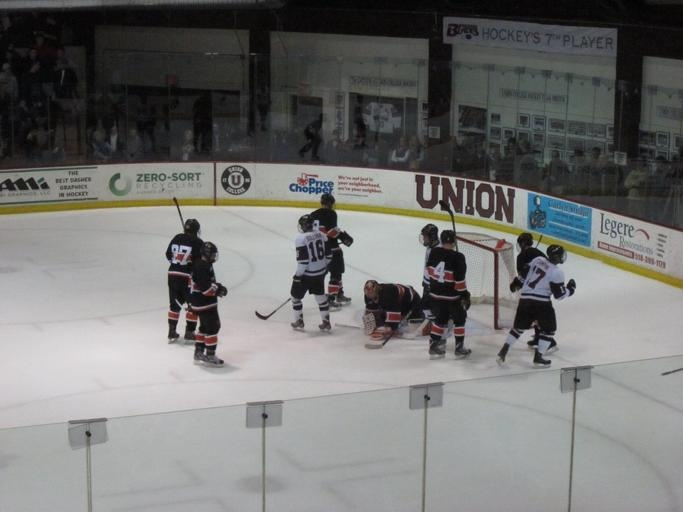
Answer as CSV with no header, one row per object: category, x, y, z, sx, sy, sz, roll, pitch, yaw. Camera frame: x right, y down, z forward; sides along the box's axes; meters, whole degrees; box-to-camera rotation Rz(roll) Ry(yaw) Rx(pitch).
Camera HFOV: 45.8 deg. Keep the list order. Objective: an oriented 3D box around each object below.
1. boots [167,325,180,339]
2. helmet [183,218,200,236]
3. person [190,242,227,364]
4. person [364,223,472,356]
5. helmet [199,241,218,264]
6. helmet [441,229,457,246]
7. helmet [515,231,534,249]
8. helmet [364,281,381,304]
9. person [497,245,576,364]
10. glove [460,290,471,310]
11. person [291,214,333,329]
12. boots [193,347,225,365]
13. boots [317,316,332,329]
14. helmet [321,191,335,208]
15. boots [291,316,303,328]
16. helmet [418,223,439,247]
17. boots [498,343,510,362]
boots,-2.301,1.039,11.059,0.102,0.201,0.203,4,10,17
helmet,-2.038,-0.401,10.984,0.182,0.241,0.236,10,13,28
person,-1.694,0.606,10.289,0.430,1.526,0.411,0,10,-9
person,1.344,0.481,10.636,0.495,1.665,0.755,-4,11,-29
helmet,-1.704,-0.027,10.358,0.203,0.299,0.408,0,10,-13
helmet,1.374,-0.223,10.490,0.161,0.206,0.212,0,52,0
helmet,2.450,-0.210,10.837,0.203,0.236,0.221,-9,20,-29
helmet,0.368,0.496,11.035,0.266,0.332,0.248,-3,-5,44
person,2.463,0.627,10.279,0.910,1.558,0.559,1,10,-7
glove,1.615,0.551,10.501,0.076,0.274,0.275,6,11,19
person,-0.418,0.238,11.566,0.576,1.639,0.456,2,10,-2
boots,-1.705,1.278,10.315,0.457,0.233,0.159,6,9,17
boots,-0.226,0.946,11.652,0.105,0.226,0.228,-9,24,-30
helmet,-0.220,-0.873,12.617,0.209,0.255,0.249,-2,-13,1
boots,-0.635,0.948,11.698,0.180,0.181,0.101,10,14,14
helmet,1.236,-0.284,11.155,0.337,0.369,0.285,2,2,-9
boots,2.102,1.248,10.481,0.082,0.233,0.164,22,54,22
